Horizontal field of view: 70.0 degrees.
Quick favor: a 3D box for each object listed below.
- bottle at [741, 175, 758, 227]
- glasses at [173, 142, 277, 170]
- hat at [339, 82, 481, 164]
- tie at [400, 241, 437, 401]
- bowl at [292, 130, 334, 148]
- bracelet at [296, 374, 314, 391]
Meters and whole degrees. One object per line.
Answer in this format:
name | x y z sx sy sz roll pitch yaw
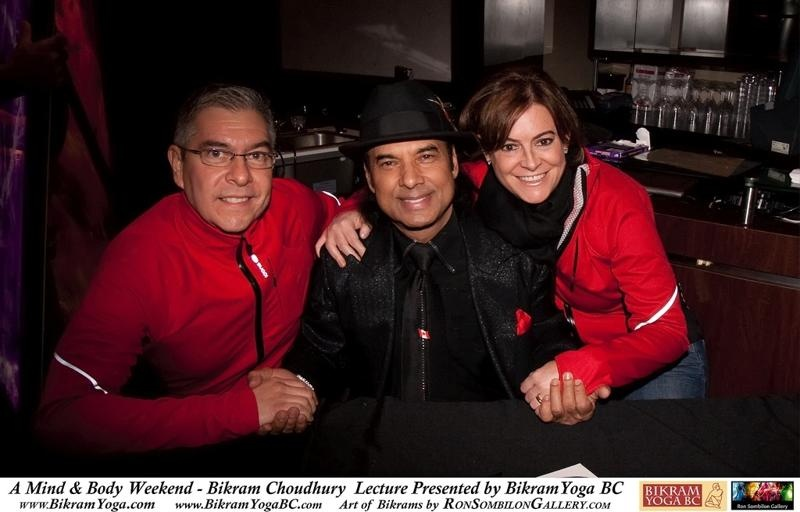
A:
bottle | 2.004 -0.308 3.262 0.079 0.253 0.075 -6 24 3
glasses | -0.775 -0.436 2.538 0.421 0.114 0.164 -6 14 -16
hat | 0.012 -0.647 2.647 0.639 0.251 0.533 2 14 32
tie | 0.097 0.306 2.631 0.174 0.728 0.136 1 -13 -2
bowl | -0.759 -0.991 4.881 0.217 0.139 0.140 -9 20 -32
bracelet | -0.397 0.526 2.416 0.018 0.072 0.070 -50 35 -11
